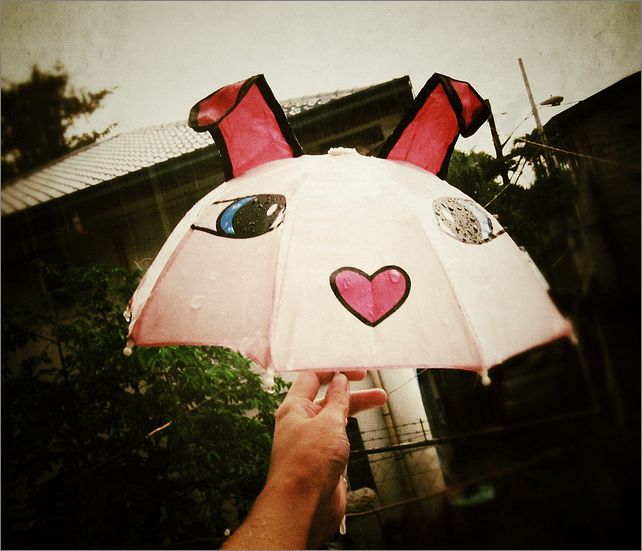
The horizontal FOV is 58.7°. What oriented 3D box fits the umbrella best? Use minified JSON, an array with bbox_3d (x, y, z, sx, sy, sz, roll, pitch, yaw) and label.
[{"bbox_3d":[0.105,-0.285,2.993,2.051,1.319,2.128,0,1,-34],"label":"umbrella"}]
